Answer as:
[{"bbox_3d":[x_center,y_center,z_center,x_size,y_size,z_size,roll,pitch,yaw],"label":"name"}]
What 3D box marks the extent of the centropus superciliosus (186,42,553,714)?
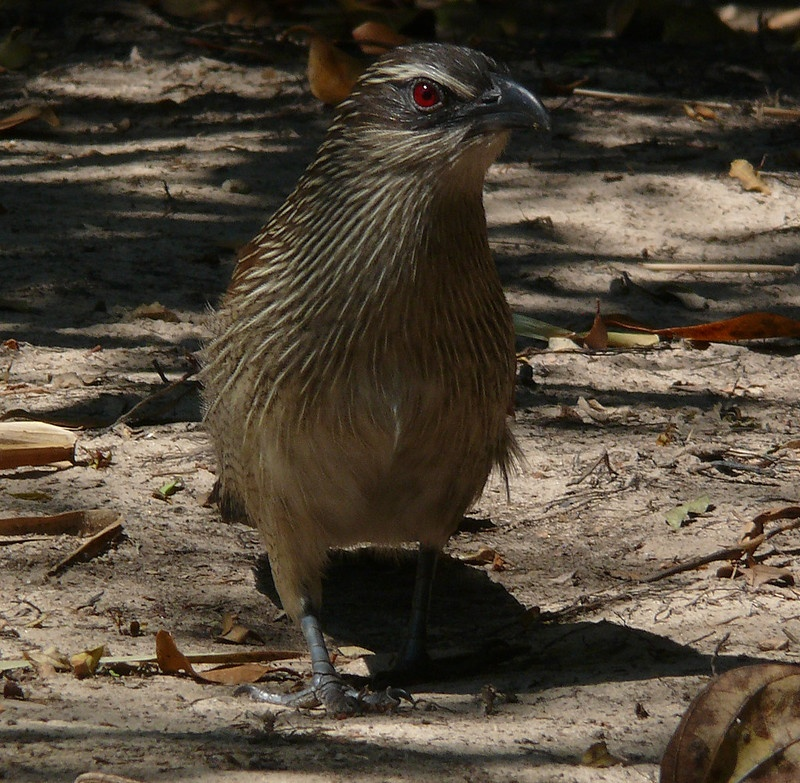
[{"bbox_3d":[-0.111,-0.082,3.842,1.022,2.049,0.691,4,15,-2],"label":"centropus superciliosus"}]
